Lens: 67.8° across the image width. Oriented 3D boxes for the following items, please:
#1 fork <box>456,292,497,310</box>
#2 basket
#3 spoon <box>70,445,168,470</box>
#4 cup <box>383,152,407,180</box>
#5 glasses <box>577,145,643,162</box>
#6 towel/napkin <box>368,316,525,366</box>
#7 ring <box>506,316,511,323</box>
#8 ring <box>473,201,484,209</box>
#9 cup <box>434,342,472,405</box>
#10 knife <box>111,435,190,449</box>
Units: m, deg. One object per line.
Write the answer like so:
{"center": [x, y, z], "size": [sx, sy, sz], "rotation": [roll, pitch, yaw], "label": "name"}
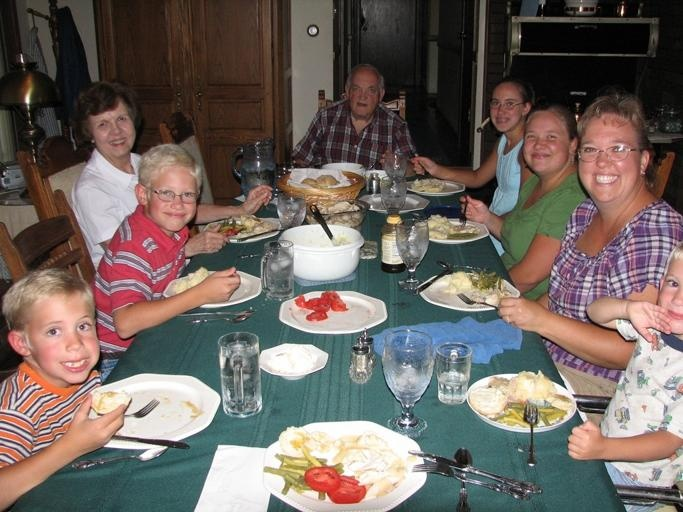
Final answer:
{"center": [0.511, 0.168, 1.901], "size": [0.135, 0.018, 0.018], "rotation": [18, 36, 19], "label": "fork"}
{"center": [-0.125, -0.374, 2.823], "size": [0.414, 0.129, 0.384], "rotation": [-1, 19, -1], "label": "basket"}
{"center": [-0.535, 0.481, 1.212], "size": [0.218, 0.022, 0.035], "rotation": [-6, 27, -11], "label": "spoon"}
{"center": [0.358, -0.593, 3.354], "size": [0.139, 0.188, 0.172], "rotation": [-3, 27, 0], "label": "cup"}
{"center": [0.994, -0.386, 1.885], "size": [0.200, 0.078, 0.066], "rotation": [10, 29, 23], "label": "glasses"}
{"center": [0.411, 0.259, 1.662], "size": [0.311, 0.038, 0.198], "rotation": [5, 20, -4], "label": "towel/napkin"}
{"center": [0.569, 0.213, 1.730], "size": [0.006, 0.020, 0.022], "rotation": [-43, 12, -37], "label": "ring"}
{"center": [0.761, -0.289, 2.790], "size": [0.034, 0.029, 0.039], "rotation": [0, 13, 1], "label": "ring"}
{"center": [0.316, 0.333, 1.431], "size": [0.107, 0.143, 0.102], "rotation": [-2, 25, 1], "label": "cup"}
{"center": [-0.473, 0.457, 1.249], "size": [0.248, 0.023, 0.019], "rotation": [6, -9, -1], "label": "knife"}
